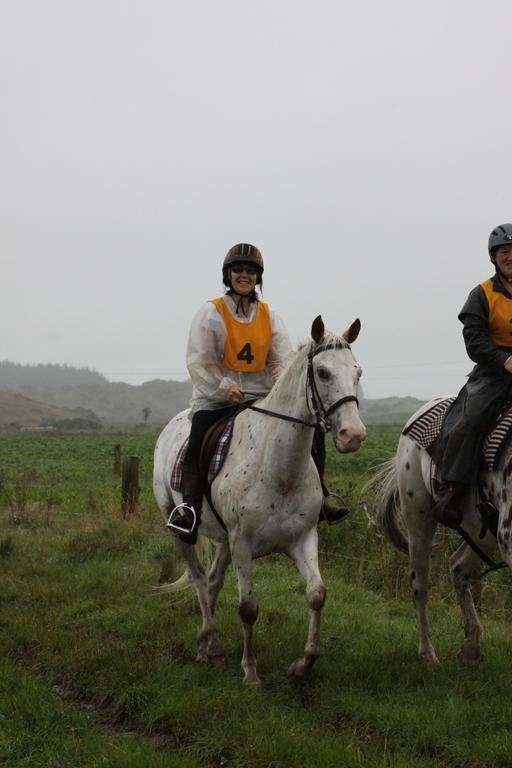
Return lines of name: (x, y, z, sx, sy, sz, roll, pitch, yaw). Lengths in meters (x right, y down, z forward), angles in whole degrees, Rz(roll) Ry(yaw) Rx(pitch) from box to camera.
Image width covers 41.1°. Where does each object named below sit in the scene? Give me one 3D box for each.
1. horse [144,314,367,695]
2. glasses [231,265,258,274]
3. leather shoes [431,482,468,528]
horse: (-0.079, 1.142, 5.788, 0.922, 2.609, 3.610, 3, -11, -23)
glasses: (-0.091, -0.953, 5.914, 0.120, 0.038, 0.117, 2, -15, -6)
leather shoes: (1.381, 0.890, 4.913, 0.236, 0.266, 0.269, 2, 0, 16)
